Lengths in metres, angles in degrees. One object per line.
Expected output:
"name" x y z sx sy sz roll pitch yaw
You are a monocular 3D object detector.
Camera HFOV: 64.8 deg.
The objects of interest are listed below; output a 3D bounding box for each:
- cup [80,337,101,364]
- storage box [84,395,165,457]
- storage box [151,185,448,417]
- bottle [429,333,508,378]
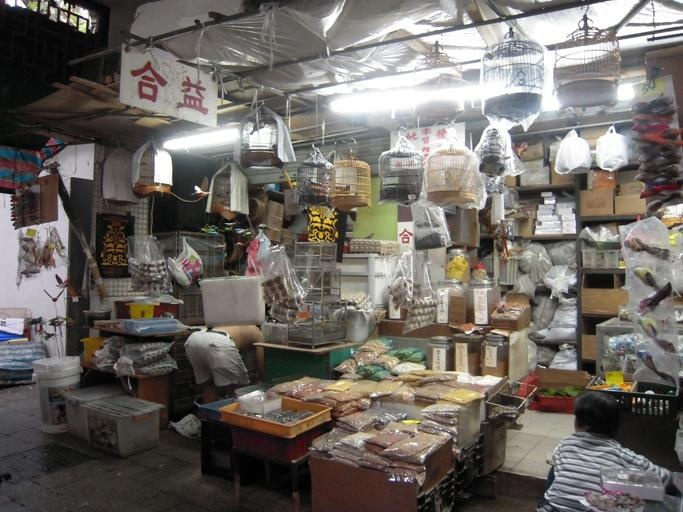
"cup" -3.377 1.271 7.268 0.375 0.338 0.320 6 -7 -18
"storage box" -2.650 2.037 6.494 0.921 0.495 0.647 -1 0 37
"storage box" -0.407 0.882 7.099 3.155 2.111 1.673 -3 -4 19
"bottle" 1.366 1.060 5.674 0.473 0.393 0.165 -1 -7 15
